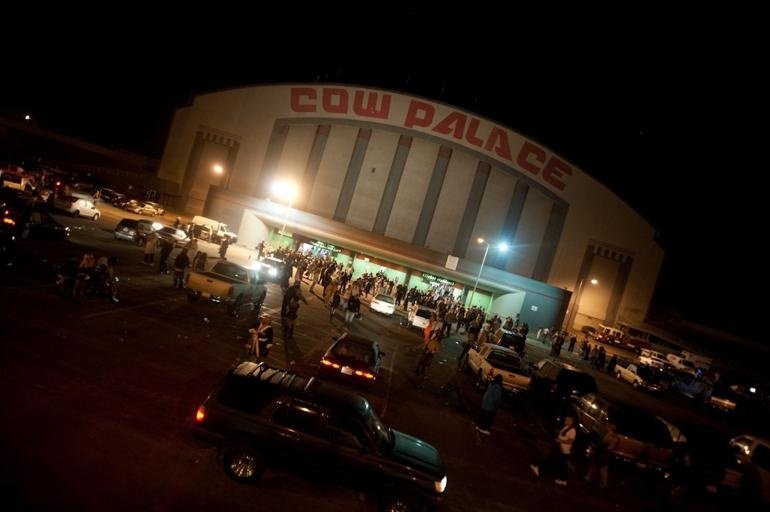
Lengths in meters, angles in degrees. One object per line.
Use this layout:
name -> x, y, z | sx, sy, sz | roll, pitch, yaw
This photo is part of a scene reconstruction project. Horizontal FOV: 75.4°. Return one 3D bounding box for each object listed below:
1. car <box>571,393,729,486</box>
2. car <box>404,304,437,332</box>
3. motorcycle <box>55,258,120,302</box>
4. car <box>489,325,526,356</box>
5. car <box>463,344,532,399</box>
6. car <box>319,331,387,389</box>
car -> 9.692, 7.125, 20.362 | 2.571, 1.999, 4.514 | 24, -1, 10
car -> 2.265, 4.142, 33.748 | 1.350, 1.673, 1.287 | 16, -1, 17
motorcycle -> -11.371, 0.763, 19.613 | 2.750, 1.809, 1.718 | 1, 10, -4
car -> 7.327, 5.239, 30.298 | 1.411, 1.327, 2.218 | 5, 11, -7
car -> 5.340, 5.347, 24.521 | 2.130, 1.709, 4.711 | 15, 5, -6
car -> -1.179, 3.864, 20.102 | 2.204, 1.397, 3.822 | 17, 9, 2
